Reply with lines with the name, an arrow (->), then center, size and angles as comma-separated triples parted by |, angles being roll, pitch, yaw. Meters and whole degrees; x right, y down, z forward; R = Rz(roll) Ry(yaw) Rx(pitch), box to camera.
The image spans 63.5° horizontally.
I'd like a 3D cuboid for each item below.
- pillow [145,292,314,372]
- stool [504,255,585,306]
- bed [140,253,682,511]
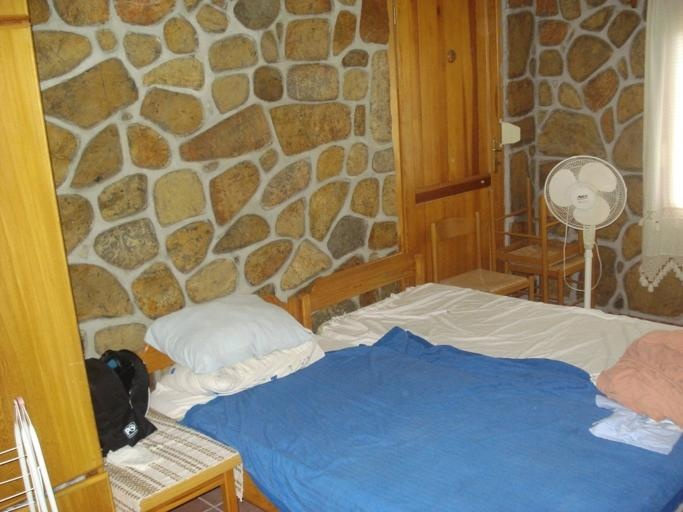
pillow -> -0.583, 0.411, 2.980 | 0.560, 0.155, 0.479 | -16, 29, -32
stool -> 1.880, 0.109, 5.022 | 0.655, 0.663, 0.478 | 4, 10, 44
bed -> -0.208, 0.888, 4.101 | 1.922, 0.996, 1.414 | -23, 18, -40
